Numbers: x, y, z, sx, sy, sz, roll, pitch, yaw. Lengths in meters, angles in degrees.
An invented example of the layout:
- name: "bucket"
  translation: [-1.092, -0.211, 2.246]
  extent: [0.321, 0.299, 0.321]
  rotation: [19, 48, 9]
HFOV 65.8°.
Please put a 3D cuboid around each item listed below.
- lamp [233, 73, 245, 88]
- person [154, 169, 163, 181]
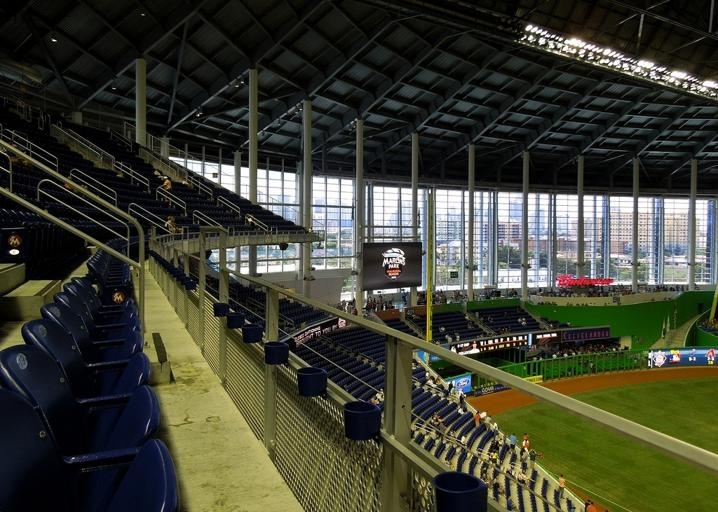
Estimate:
- name: "lamp"
  translation: [-4.986, -7.169, 22.955]
  extent: [0.417, 0.152, 0.598]
  rotation: [4, -11, -32]
- name: "person"
  translation: [-8.297, -3.265, 22.733]
  extent: [0.261, 0.319, 0.705]
  rotation: [28, 16, -6]
